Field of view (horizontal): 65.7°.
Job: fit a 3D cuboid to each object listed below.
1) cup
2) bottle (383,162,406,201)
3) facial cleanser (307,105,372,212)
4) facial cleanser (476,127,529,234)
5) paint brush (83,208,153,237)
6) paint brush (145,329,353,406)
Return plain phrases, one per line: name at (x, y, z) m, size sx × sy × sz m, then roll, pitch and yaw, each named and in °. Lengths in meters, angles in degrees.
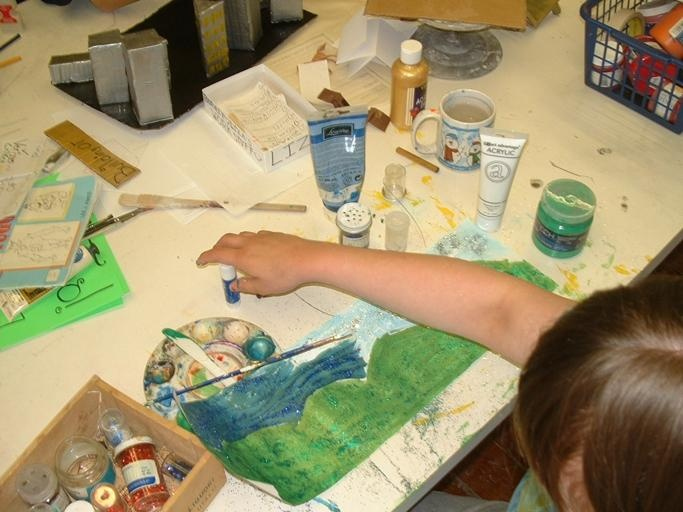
cup at (0.230, -0.260, 1.127) m, size 0.160 × 0.131 × 0.107 m, roll -3°, pitch 47°, yaw 4°
bottle at (0.110, -0.151, 1.105) m, size 0.062 × 0.073 × 0.065 m, roll 6°, pitch 48°, yaw 7°
facial cleanser at (-0.002, -0.183, 1.032) m, size 0.111 × 0.191 × 0.075 m, roll -7°, pitch 46°, yaw -3°
facial cleanser at (0.296, -0.150, 1.020) m, size 0.082 × 0.191 × 0.093 m, roll 10°, pitch 48°, yaw 14°
paint brush at (-0.455, -0.065, 1.073) m, size 0.100 × 0.020 × 0.015 m, roll -24°, pitch 92°, yaw -19°
paint brush at (-0.156, 0.194, 0.900) m, size 0.265 × 0.015 × 0.023 m, roll -21°, pitch 13°, yaw -7°
